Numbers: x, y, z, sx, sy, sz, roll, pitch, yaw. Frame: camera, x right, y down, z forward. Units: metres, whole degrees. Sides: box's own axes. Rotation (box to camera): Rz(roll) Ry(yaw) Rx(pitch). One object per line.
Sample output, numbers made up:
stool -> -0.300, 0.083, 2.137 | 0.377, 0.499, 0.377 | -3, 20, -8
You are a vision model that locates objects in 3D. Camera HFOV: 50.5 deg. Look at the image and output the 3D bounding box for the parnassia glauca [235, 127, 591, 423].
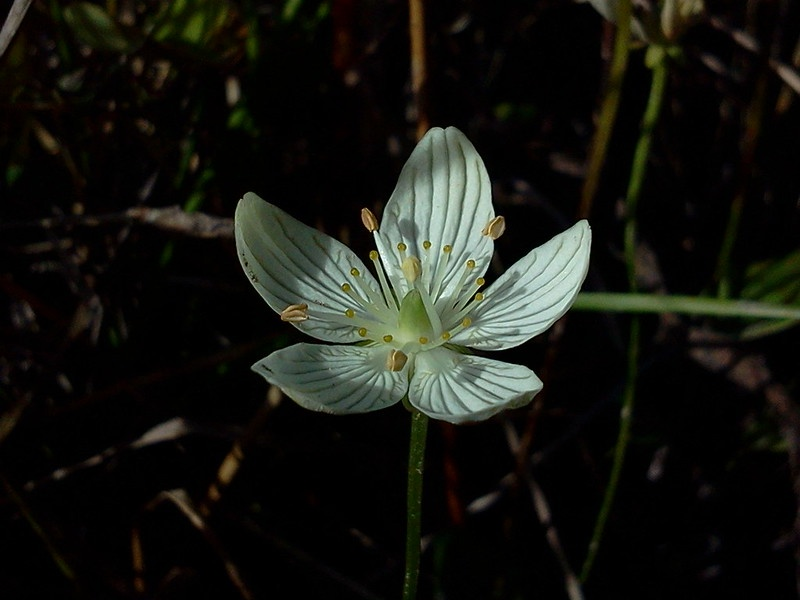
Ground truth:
parnassia glauca -> 0.060, 0.002, 1.421 | 0.484, 0.264, 0.623 | -10, 39, -14
